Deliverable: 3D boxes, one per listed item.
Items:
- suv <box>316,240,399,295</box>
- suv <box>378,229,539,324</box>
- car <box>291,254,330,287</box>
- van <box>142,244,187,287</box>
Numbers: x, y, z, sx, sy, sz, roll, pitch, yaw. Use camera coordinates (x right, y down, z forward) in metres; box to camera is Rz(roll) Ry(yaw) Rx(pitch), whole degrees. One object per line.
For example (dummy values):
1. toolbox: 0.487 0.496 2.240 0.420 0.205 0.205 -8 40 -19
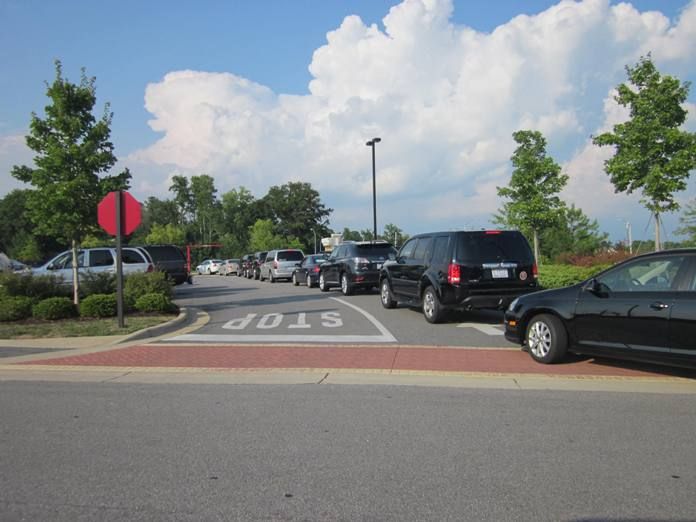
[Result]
1. suv: 0.322 0.230 20.921 1.316 1.272 3.011 0 3 -19
2. suv: 2.303 0.113 13.902 1.994 1.860 4.277 0 4 -19
3. car: -1.629 0.417 26.386 0.921 0.878 2.261 0 4 -17
4. van: -7.041 0.466 23.471 1.642 1.726 3.038 -2 8 -29
